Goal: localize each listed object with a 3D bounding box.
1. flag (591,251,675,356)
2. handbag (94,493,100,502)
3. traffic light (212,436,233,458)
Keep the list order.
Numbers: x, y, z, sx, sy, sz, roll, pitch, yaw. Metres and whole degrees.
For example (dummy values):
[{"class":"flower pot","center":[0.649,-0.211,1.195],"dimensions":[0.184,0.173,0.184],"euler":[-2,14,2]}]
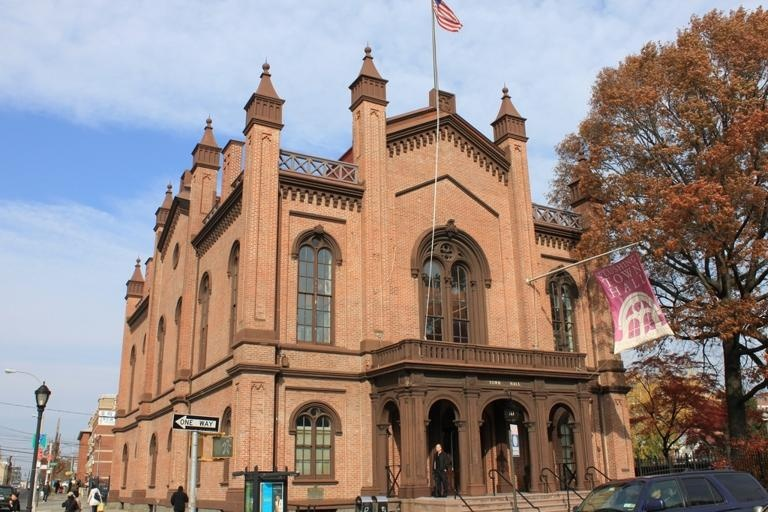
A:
[{"class":"flag","center":[12.773,2.298,36.743],"dimensions":[3.687,6.440,0.525],"euler":[-30,-43,31]},{"class":"handbag","center":[-14.008,11.808,35.294],"dimensions":[0.155,0.419,0.309],"euler":[-2,-11,15]},{"class":"traffic light","center":[-5.301,6.300,23.738],"dimensions":[0.636,0.673,0.096],"euler":[11,-27,-27]}]
